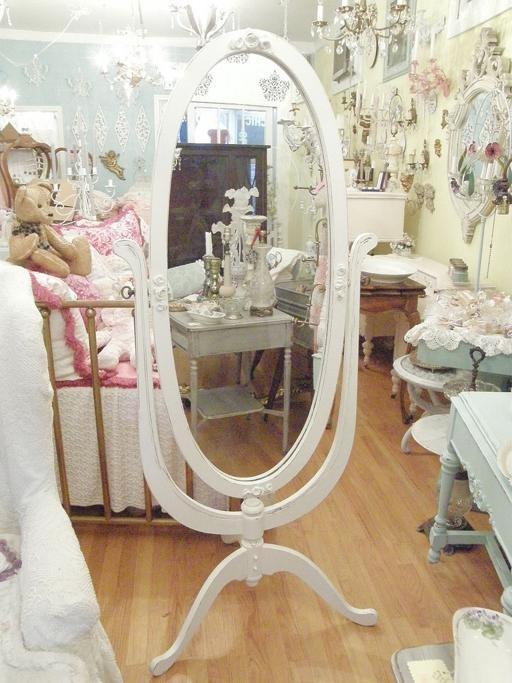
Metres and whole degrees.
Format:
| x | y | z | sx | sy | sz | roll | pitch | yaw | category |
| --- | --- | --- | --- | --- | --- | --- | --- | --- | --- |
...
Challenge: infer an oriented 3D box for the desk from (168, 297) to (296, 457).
| x | y | z | sx | sy | sz | roll | pitch | yaw | category |
| --- | --- | --- | --- | --- | --- | --- | --- | --- | --- |
| -0.069 | 0.059 | 1.243 | 0.252 | 0.347 | 0.254 | -6 | 18 | -20 | desk |

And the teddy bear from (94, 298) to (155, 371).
| x | y | z | sx | sy | sz | roll | pitch | yaw | category |
| --- | --- | --- | --- | --- | --- | --- | --- | --- | --- |
| -0.527 | -0.049 | 2.136 | 0.177 | 0.311 | 0.150 | -27 | -24 | 31 | teddy bear |

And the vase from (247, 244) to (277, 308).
| x | y | z | sx | sy | sz | roll | pitch | yaw | category |
| --- | --- | --- | --- | --- | --- | --- | --- | --- | --- |
| 0.009 | -0.131 | 1.134 | 0.055 | 0.133 | 0.054 | -6 | 14 | -35 | vase |

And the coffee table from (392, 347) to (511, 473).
| x | y | z | sx | sy | sz | roll | pitch | yaw | category |
| --- | --- | --- | --- | --- | --- | --- | --- | --- | --- |
| 0.774 | 0.313 | 2.283 | 0.452 | 0.347 | 0.443 | -1 | 25 | 0 | coffee table |

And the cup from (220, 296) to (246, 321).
| x | y | z | sx | sy | sz | roll | pitch | yaw | category |
| --- | --- | --- | --- | --- | --- | --- | --- | --- | --- |
| -0.045 | -0.070 | 1.104 | 0.043 | 0.034 | 0.046 | 0 | 10 | 0 | cup |

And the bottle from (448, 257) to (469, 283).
| x | y | z | sx | sy | sz | roll | pitch | yaw | category |
| --- | --- | --- | --- | --- | --- | --- | --- | --- | --- |
| 1.108 | -0.390 | 2.947 | 0.072 | 0.090 | 0.173 | 1 | 16 | 4 | bottle |
